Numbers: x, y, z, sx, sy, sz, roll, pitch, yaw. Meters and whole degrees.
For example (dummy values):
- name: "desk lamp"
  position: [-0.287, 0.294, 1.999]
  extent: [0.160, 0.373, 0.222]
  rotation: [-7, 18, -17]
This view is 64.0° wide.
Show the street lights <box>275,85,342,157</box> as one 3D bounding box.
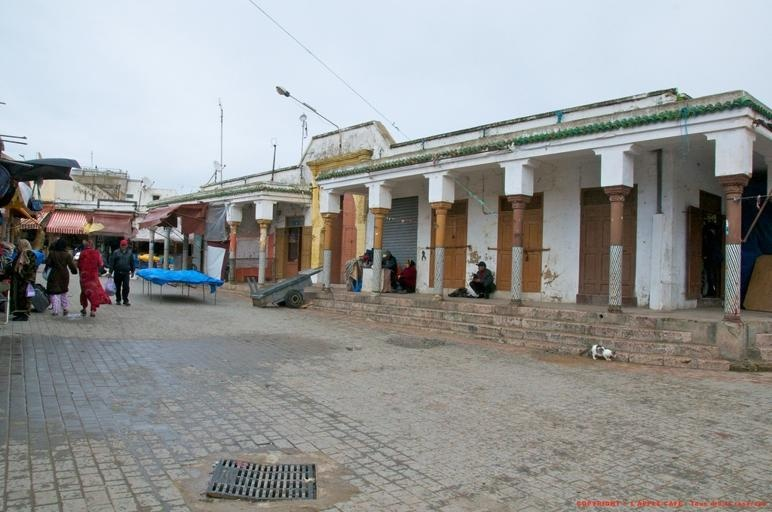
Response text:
- name: "street lights"
  position: [-0.876, -1.644, 6.999]
  extent: [0.900, 0.095, 0.126]
  rotation: [30, -62, -33]

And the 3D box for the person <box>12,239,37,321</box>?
- name: "person"
  position: [-7.473, 0.513, 12.656]
  extent: [0.586, 1.727, 0.605]
  rotation: [1, -1, -19]

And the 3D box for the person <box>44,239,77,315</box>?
- name: "person"
  position: [-7.404, 0.457, 13.919]
  extent: [0.866, 2.270, 0.826]
  rotation: [0, -3, -25]

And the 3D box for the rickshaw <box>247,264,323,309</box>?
- name: "rickshaw"
  position: [-2.966, 0.941, 18.075]
  extent: [1.764, 1.149, 0.673]
  rotation: [-1, 14, -13]

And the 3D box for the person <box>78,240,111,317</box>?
- name: "person"
  position: [-6.976, 0.547, 14.622]
  extent: [0.631, 1.900, 1.538]
  rotation: [-5, 15, -26]

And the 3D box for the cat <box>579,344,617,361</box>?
- name: "cat"
  position: [4.034, 1.802, 11.605]
  extent: [0.718, 0.268, 0.219]
  rotation: [-1, -3, 35]
